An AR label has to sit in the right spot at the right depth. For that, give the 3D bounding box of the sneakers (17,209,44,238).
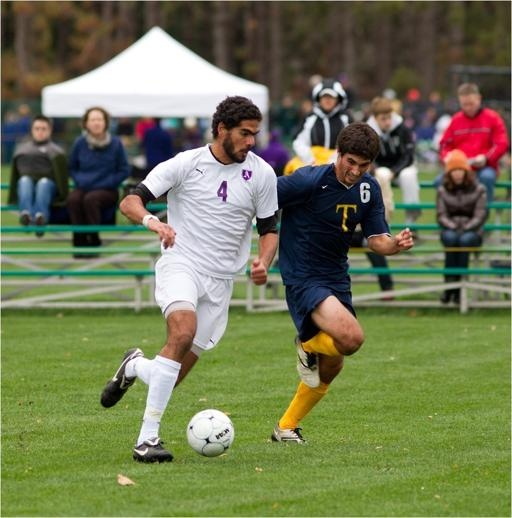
[{"bbox_3d":[-2.215,-0.433,12.213,0.138,0.429,0.180,-8,8,1],"label":"sneakers"}]

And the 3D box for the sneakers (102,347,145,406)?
[{"bbox_3d":[-0.933,0.859,8.730,0.167,0.414,0.148,38,0,33],"label":"sneakers"}]

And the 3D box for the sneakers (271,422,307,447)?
[{"bbox_3d":[0.215,1.186,8.155,0.261,0.126,0.090,4,-1,3],"label":"sneakers"}]

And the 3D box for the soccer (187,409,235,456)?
[{"bbox_3d":[-0.285,1.112,7.776,0.264,0.277,0.270,2,-22,-8],"label":"soccer"}]

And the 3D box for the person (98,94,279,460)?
[{"bbox_3d":[-0.393,0.086,8.011,1.142,2.243,0.576,-8,13,-40],"label":"person"}]

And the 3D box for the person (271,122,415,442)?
[{"bbox_3d":[0.507,0.176,8.097,0.801,2.113,0.614,1,10,6],"label":"person"}]

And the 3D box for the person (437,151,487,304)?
[{"bbox_3d":[1.839,-0.341,10.937,0.480,1.422,2.093,1,10,9],"label":"person"}]

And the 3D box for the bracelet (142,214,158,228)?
[{"bbox_3d":[-0.675,-0.218,7.827,0.063,0.089,0.087,11,35,19],"label":"bracelet"}]

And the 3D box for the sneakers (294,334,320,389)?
[{"bbox_3d":[0.338,0.680,8.227,0.119,0.367,0.153,-9,5,0],"label":"sneakers"}]

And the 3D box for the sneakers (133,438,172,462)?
[{"bbox_3d":[-0.645,1.201,7.730,0.224,0.099,0.116,-5,-5,41],"label":"sneakers"}]
